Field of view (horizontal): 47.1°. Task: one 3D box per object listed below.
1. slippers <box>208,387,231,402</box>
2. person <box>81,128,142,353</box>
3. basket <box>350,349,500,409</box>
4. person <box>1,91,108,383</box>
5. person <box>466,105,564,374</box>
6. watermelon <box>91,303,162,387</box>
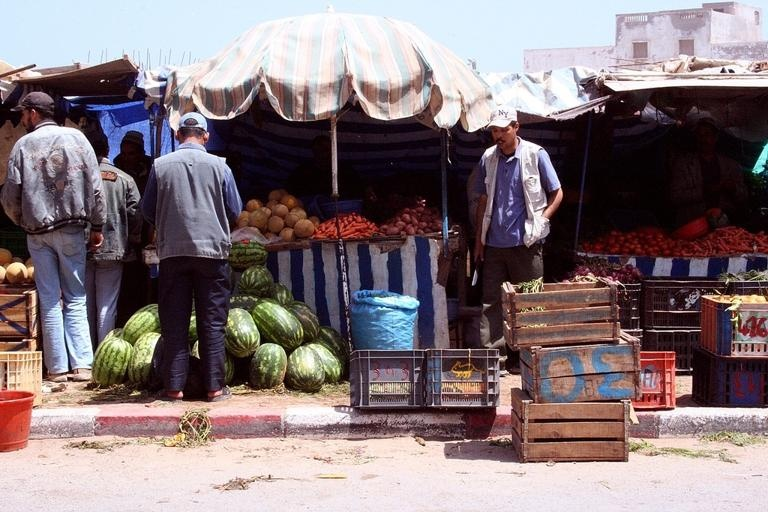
[{"bbox_3d":[-1.815,1.530,9.763,0.116,0.121,0.266,3,9,24],"label":"slippers"},{"bbox_3d":[-3.519,-0.227,11.249,0.787,2.513,0.848,2,-2,-14],"label":"person"},{"bbox_3d":[0.405,1.304,9.385,1.510,0.637,0.350,-2,-11,8],"label":"basket"},{"bbox_3d":[-3.806,-0.349,10.657,1.186,3.504,1.177,1,1,18],"label":"person"},{"bbox_3d":[1.612,-0.279,10.928,1.123,2.927,1.095,0,1,4],"label":"person"},{"bbox_3d":[-3.020,0.972,10.433,0.630,1.080,0.656,1,-3,-1],"label":"watermelon"}]
